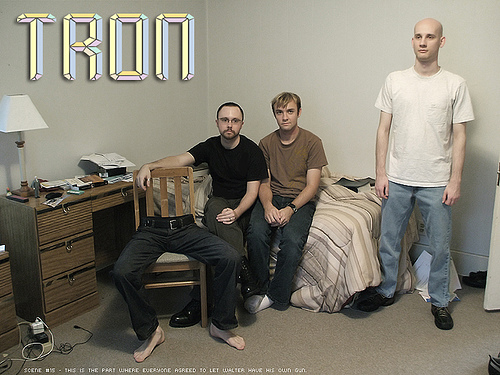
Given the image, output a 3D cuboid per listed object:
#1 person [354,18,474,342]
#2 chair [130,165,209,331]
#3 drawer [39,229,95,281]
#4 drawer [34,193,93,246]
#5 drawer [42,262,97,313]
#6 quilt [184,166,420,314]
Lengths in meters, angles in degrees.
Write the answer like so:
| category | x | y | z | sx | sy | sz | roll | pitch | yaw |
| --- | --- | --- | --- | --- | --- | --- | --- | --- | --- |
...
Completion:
| category | x | y | z | sx | sy | sz | roll | pitch | yaw |
| --- | --- | --- | --- | --- | --- | --- | --- | --- | --- |
| person | 1.053 | -0.072 | 2.518 | 0.612 | 1.910 | 0.494 | 5 | 15 | 28 |
| chair | -0.542 | 0.338 | 2.711 | 0.475 | 0.994 | 0.991 | -6 | 14 | -16 |
| drawer | -1.172 | 0.430 | 2.496 | 0.252 | 0.162 | 0.251 | 1 | 9 | 31 |
| drawer | -1.172 | 0.204 | 2.462 | 0.235 | 0.284 | 0.424 | 4 | 14 | 27 |
| drawer | -1.176 | 0.648 | 2.537 | 0.244 | 0.163 | 0.245 | 1 | 8 | 24 |
| quilt | 0.417 | 0.354 | 2.886 | 1.261 | 0.501 | 1.066 | 9 | 20 | 25 |
